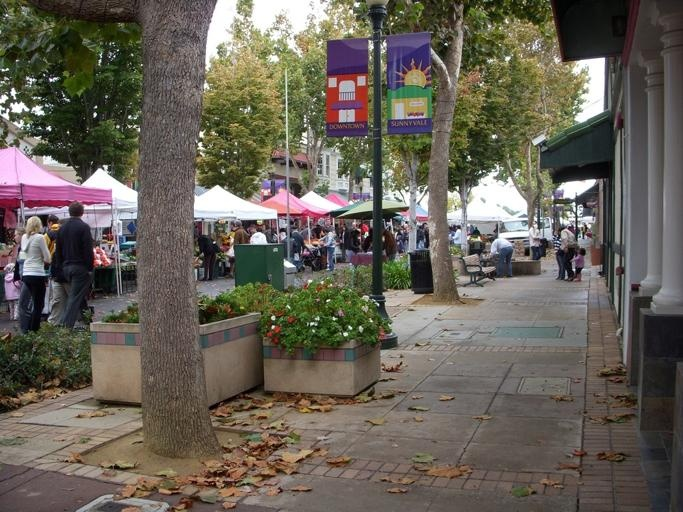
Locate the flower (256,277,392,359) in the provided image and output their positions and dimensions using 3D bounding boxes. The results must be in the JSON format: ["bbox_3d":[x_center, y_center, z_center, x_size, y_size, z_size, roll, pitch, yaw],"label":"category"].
[{"bbox_3d":[-0.163,0.769,7.174,1.010,0.595,1.030,5,11,11],"label":"flower"}]

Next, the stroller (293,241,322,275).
[{"bbox_3d":[-1.973,0.131,27.420,1.413,1.430,1.070,-4,-3,30],"label":"stroller"}]

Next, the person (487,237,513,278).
[{"bbox_3d":[6.507,0.041,23.065,0.795,1.718,1.124,7,-12,-27],"label":"person"}]
